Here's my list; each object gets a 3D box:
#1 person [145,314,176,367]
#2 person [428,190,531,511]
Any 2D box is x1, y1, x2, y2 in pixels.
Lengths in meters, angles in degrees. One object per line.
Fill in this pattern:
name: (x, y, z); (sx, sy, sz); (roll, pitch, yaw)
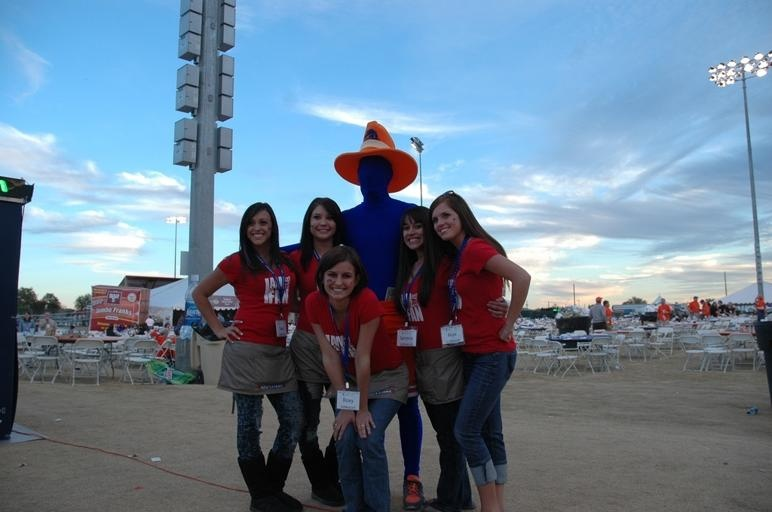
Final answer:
person: (-7.331, 2.742, 16.690); (1.116, 1.693, 1.346); (4, -10, -36)
person: (0.828, 0.822, 4.456); (0.805, 2.841, 0.693); (-1, -9, 4)
